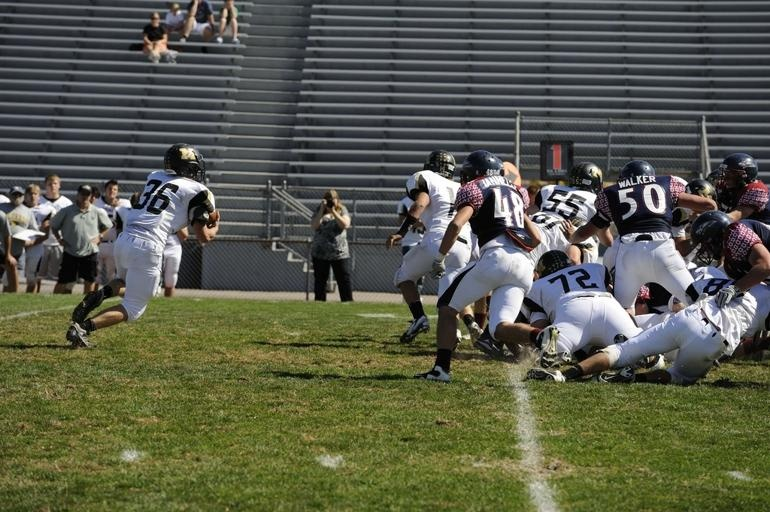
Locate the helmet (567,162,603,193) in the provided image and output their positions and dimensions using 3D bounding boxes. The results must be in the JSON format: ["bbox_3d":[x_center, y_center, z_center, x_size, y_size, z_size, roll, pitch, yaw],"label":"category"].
[{"bbox_3d":[3.160,-1.241,19.884,0.401,0.464,0.525,12,19,30],"label":"helmet"}]

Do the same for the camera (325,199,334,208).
[{"bbox_3d":[-0.980,-0.945,22.777,0.141,0.095,0.136,0,-4,-45],"label":"camera"}]

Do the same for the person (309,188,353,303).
[{"bbox_3d":[-0.976,-0.177,23.235,0.722,2.037,0.912,1,2,-2],"label":"person"}]

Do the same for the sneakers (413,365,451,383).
[{"bbox_3d":[0.599,1.631,17.689,0.584,0.229,0.186,4,-12,11],"label":"sneakers"}]

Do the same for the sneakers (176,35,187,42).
[{"bbox_3d":[-4.839,-5.180,30.453,0.173,0.138,0.399,1,1,-2],"label":"sneakers"}]

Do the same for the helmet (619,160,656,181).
[{"bbox_3d":[3.663,-1.256,18.676,0.421,0.325,0.312,5,5,40],"label":"helmet"}]

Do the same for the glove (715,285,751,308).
[{"bbox_3d":[4.769,0.567,17.564,0.334,0.148,0.284,-28,19,13],"label":"glove"}]
